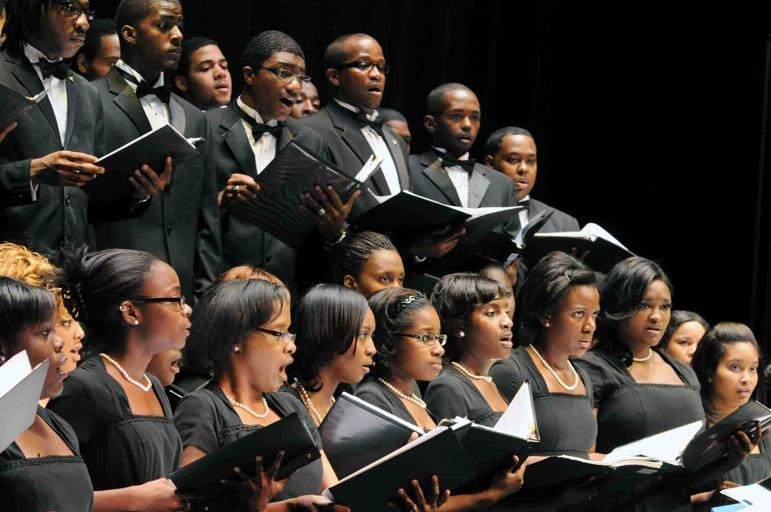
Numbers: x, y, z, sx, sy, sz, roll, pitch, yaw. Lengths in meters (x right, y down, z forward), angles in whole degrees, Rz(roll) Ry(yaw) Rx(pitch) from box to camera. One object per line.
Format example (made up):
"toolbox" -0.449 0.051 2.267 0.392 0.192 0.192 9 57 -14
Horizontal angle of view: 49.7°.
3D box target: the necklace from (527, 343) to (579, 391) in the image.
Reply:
"necklace" 0.804 0.539 3.959 0.228 0.039 0.175 51 31 5

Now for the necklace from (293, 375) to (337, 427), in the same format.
"necklace" -0.291 0.573 3.286 0.148 0.077 0.182 27 18 -26

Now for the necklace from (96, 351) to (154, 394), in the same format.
"necklace" -0.918 0.406 2.924 0.161 0.027 0.128 40 6 6

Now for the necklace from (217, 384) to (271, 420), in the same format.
"necklace" -0.502 0.527 2.982 0.134 0.018 0.106 27 18 6

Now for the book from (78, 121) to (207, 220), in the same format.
"book" -1.036 -0.336 3.402 0.404 0.406 0.382 45 -19 -1

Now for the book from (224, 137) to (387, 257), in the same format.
"book" -0.401 -0.258 3.746 0.439 0.418 0.414 6 -2 -44

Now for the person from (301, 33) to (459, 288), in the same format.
"person" -0.030 -0.537 4.598 0.847 1.350 0.806 1 4 44

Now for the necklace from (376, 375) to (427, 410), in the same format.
"necklace" 0.071 0.582 3.500 0.175 0.033 0.131 25 23 -8

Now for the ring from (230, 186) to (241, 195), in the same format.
"ring" -0.673 -0.296 3.722 0.036 0.042 0.042 3 3 -41

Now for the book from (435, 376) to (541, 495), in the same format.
"book" 0.387 0.690 3.219 0.322 0.369 0.145 -2 43 -27

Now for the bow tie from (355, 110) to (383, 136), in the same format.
"bow tie" -0.092 -0.747 4.623 0.162 0.136 0.061 -6 -5 -24

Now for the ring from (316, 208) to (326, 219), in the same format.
"ring" -0.298 -0.201 3.785 0.039 0.030 0.036 0 3 0

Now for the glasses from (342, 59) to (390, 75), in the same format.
"glasses" -0.116 -1.069 4.673 0.133 0.032 0.130 -6 -6 42
